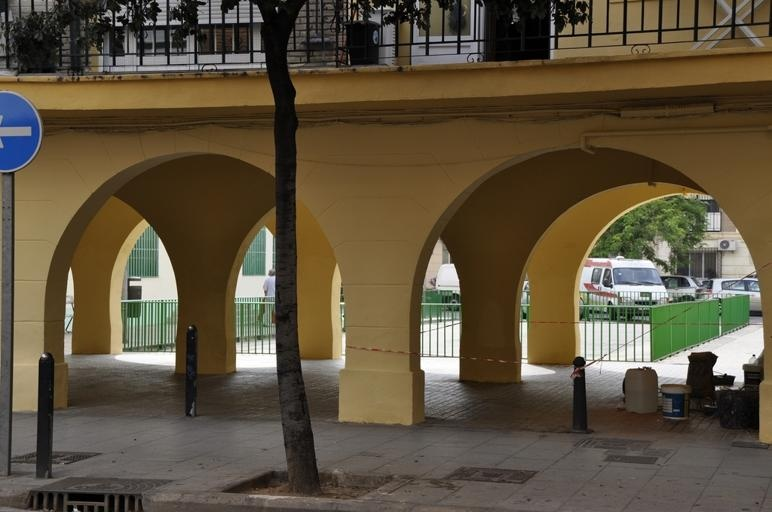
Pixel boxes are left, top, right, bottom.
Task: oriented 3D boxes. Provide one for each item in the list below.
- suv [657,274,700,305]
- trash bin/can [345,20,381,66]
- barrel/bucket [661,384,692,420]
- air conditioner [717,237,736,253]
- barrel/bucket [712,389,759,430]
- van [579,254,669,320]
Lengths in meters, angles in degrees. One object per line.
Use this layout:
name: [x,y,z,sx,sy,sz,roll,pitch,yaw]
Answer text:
suv: [11.809,1.180,34.695,1.479,1.299,2.602,0,6,6]
trash bin/can: [-0.349,-3.202,13.125,0.562,0.760,0.703,-1,3,12]
barrel/bucket: [4.296,2.171,12.983,0.480,0.435,0.404,-1,-2,0]
air conditioner: [18.260,-0.552,46.258,1.010,0.733,0.555,-2,-7,19]
barrel/bucket: [4.978,2.178,12.358,0.510,0.506,0.563,1,-4,-28]
van: [8.379,1.028,29.380,2.178,2.191,4.247,-1,-5,-1]
